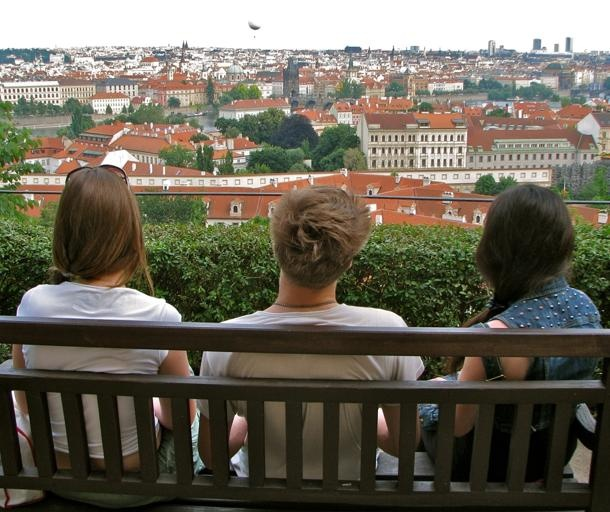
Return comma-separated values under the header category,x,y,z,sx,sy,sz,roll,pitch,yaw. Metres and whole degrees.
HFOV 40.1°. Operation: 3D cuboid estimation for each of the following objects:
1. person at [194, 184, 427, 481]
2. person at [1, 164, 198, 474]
category,x,y,z,sx,sy,sz,roll,pitch,yaw
person,0.016,0.192,2.221,0.530,0.767,0.519,4,6,5
person,-0.538,0.194,2.396,0.580,0.844,0.634,-1,0,-34
